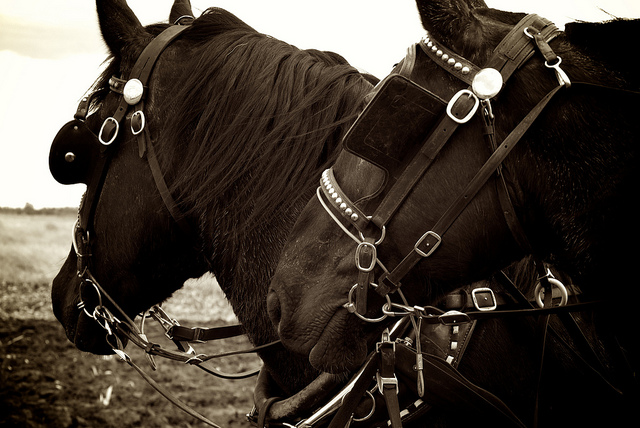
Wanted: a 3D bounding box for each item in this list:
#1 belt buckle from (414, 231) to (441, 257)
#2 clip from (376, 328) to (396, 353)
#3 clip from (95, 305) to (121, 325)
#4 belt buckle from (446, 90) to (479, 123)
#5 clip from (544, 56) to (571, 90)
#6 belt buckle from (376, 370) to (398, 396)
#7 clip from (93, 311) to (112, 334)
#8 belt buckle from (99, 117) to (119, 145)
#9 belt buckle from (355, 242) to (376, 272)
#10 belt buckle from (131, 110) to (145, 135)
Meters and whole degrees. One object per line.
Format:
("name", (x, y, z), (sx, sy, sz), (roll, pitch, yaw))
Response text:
("belt buckle", (0.352, 0.097, 2.983), (0.062, 0.087, 0.032), (37, 7, 6))
("clip", (0.239, 0.441, 3.187), (0.064, 0.061, 0.082), (19, 10, 23))
("clip", (-0.836, 0.406, 3.646), (0.093, 0.069, 0.027), (47, -17, 8))
("belt buckle", (0.455, -0.343, 2.924), (0.082, 0.111, 0.039), (38, 2, 4))
("clip", (0.755, -0.451, 2.937), (0.116, 0.061, 0.038), (62, 8, 10))
("belt buckle", (0.225, 0.577, 3.157), (0.063, 0.081, 0.067), (1, -27, -3))
("clip", (-0.846, 0.442, 3.671), (0.060, 0.104, 0.025), (-27, 6, 37))
("belt buckle", (-0.802, -0.319, 3.517), (0.074, 0.105, 0.041), (16, 0, 17))
("belt buckle", (0.151, 0.140, 3.003), (0.067, 0.090, 0.030), (5, 3, 16))
("belt buckle", (-0.687, -0.346, 3.496), (0.055, 0.091, 0.017), (20, 10, 27))
